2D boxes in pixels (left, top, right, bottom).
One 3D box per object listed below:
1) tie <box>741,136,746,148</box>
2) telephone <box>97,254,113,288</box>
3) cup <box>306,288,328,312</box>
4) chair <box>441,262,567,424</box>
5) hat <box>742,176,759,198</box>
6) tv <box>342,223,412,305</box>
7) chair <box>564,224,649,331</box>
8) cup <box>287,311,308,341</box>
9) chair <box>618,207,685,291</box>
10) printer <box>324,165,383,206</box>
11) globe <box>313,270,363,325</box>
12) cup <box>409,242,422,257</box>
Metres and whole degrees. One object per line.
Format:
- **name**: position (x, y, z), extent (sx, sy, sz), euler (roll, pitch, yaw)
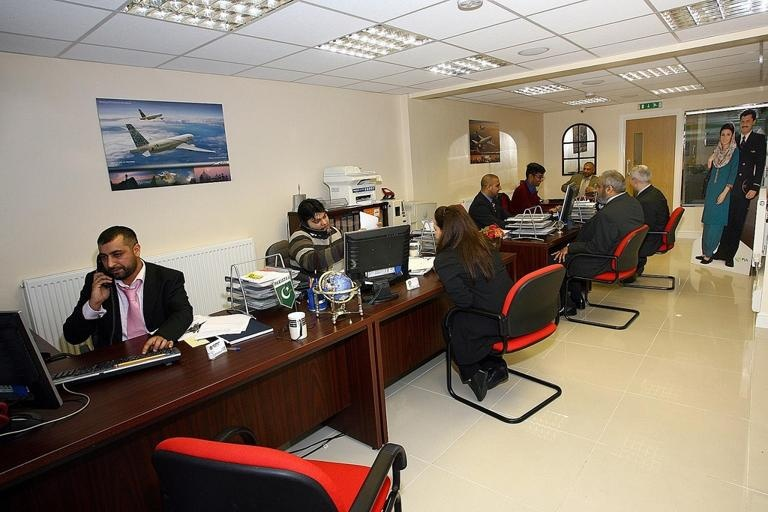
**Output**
- **tie**: position (4.835, -1.549, 6.156), extent (0.028, 0.158, 0.086), euler (-5, 13, 0)
- **telephone**: position (-1.945, 0.108, 3.197), extent (0.065, 0.220, 0.149), euler (-5, 14, -40)
- **cup**: position (-0.509, 0.323, 3.451), extent (0.159, 0.172, 0.161), euler (0, 7, 0)
- **chair**: position (1.055, 0.631, 3.923), extent (0.948, 1.234, 0.964), euler (-1, 15, 13)
- **hat**: position (4.977, -0.945, 6.201), extent (0.091, 0.264, 0.181), euler (0, 7, -18)
- **tv**: position (-0.055, 0.081, 3.542), extent (0.539, 0.535, 0.197), euler (-9, 18, -28)
- **chair**: position (2.490, 0.178, 5.088), extent (0.696, 1.048, 0.775), euler (7, 18, 41)
- **cup**: position (-0.572, 0.471, 3.025), extent (0.112, 0.156, 0.183), euler (-1, 9, -13)
- **chair**: position (3.596, -0.173, 6.074), extent (0.627, 1.055, 0.653), euler (4, 12, 31)
- **printer**: position (-0.404, -0.916, 5.918), extent (0.504, 0.530, 0.782), euler (7, 14, 31)
- **globe**: position (-0.334, 0.276, 3.346), extent (0.331, 0.341, 0.335), euler (-2, 6, -3)
- **cup**: position (0.315, -0.067, 4.537), extent (0.116, 0.114, 0.151), euler (-1, 2, 5)
